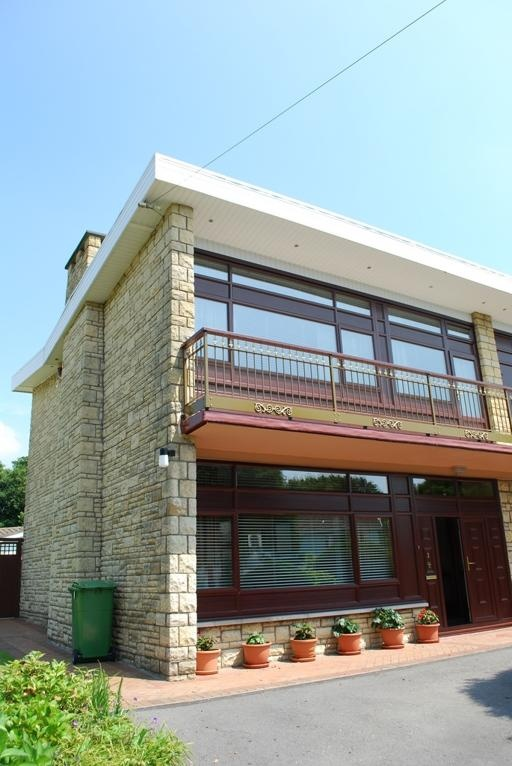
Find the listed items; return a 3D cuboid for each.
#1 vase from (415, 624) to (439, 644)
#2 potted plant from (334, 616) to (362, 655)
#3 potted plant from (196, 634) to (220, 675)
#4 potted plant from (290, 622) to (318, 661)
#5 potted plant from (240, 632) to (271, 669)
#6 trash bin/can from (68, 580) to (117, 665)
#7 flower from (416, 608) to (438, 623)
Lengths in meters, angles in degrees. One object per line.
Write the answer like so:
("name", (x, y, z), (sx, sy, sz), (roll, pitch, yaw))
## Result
("vase", (2.908, 4.203, 9.823), (0.350, 0.266, 0.358), (-3, -20, 10))
("potted plant", (1.336, 3.825, 8.753), (0.447, 0.479, 0.470), (3, -20, -8))
("potted plant", (-0.619, 3.441, 7.303), (0.357, 0.375, 0.378), (7, -22, -19))
("potted plant", (0.628, 3.720, 8.349), (0.444, 0.477, 0.450), (4, -19, -11))
("potted plant", (-0.005, 3.547, 7.719), (0.400, 0.439, 0.394), (7, -20, -19))
("trash bin/can", (-2.388, 3.485, 8.475), (0.642, 1.104, 0.517), (5, -23, -23))
("flower", (2.926, 3.996, 9.881), (0.294, 0.225, 0.299), (-2, -9, 10))
